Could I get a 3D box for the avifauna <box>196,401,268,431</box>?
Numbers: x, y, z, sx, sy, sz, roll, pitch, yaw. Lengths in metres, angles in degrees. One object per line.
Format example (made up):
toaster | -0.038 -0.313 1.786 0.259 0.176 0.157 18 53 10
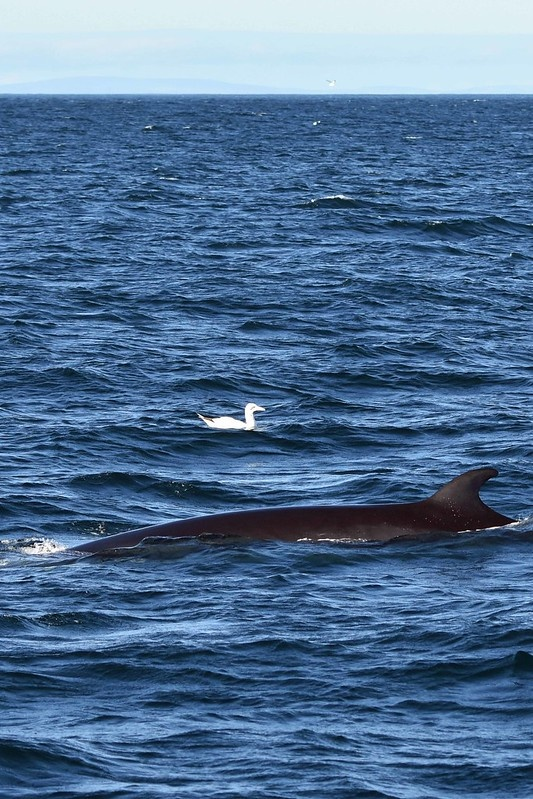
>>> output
avifauna | -0.471 0.286 30.215 0.900 0.402 0.567 -4 13 -19
